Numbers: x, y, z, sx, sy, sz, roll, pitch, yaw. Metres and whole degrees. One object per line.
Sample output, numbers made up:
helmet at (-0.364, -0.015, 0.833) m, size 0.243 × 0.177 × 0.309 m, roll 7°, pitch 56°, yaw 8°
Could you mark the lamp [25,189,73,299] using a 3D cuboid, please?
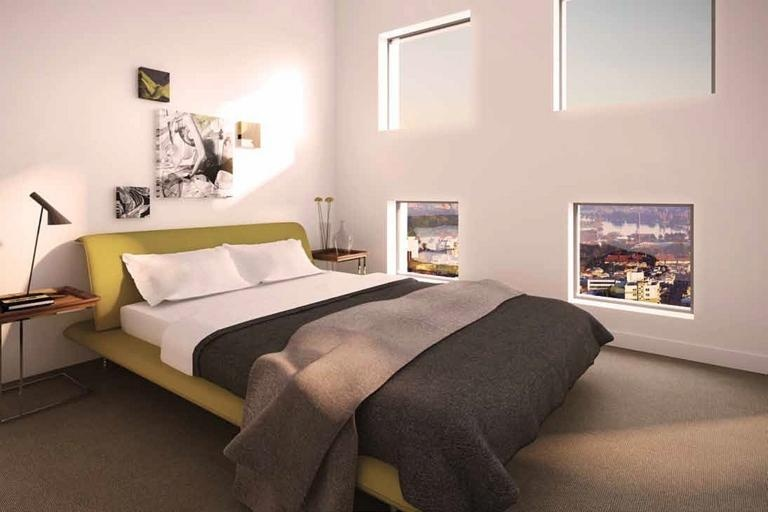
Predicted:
lamp at (-2.847, -0.107, 4.334) m, size 0.353 × 0.861 × 0.697 m, roll -6°, pitch 10°, yaw -34°
